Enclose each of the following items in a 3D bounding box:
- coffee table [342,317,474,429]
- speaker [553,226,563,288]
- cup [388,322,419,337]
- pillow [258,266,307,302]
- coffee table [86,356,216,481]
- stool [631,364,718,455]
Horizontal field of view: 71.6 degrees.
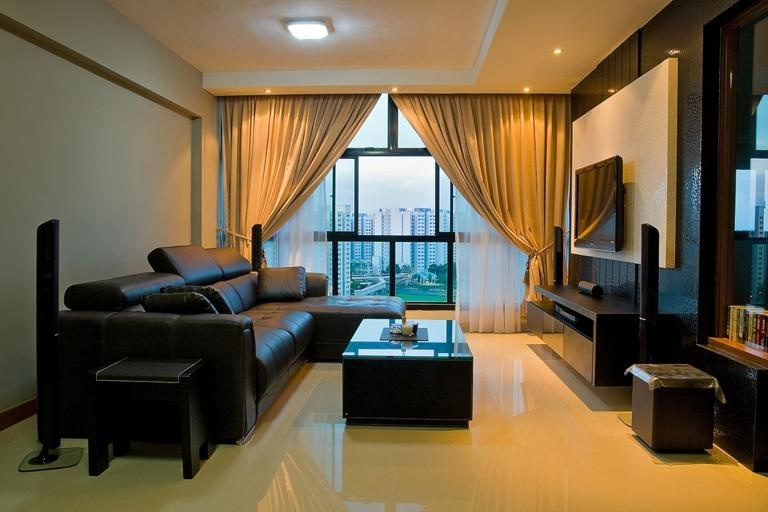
[{"bbox_3d":[0.176,0.969,4.337,0.683,0.373,0.953,0,5,1],"label":"coffee table"},{"bbox_3d":[1.998,-0.014,6.118,0.113,0.653,0.284,3,15,13],"label":"speaker"},{"bbox_3d":[0.197,0.636,4.656,0.188,0.073,0.116,-1,0,-36],"label":"cup"},{"bbox_3d":[-1.130,0.316,5.869,0.473,0.345,0.368,0,-8,-8],"label":"pillow"},{"bbox_3d":[-1.493,0.968,3.863,0.918,0.947,0.708,1,4,5],"label":"coffee table"},{"bbox_3d":[2.107,1.036,4.058,0.531,0.604,0.714,0,0,6],"label":"stool"}]
